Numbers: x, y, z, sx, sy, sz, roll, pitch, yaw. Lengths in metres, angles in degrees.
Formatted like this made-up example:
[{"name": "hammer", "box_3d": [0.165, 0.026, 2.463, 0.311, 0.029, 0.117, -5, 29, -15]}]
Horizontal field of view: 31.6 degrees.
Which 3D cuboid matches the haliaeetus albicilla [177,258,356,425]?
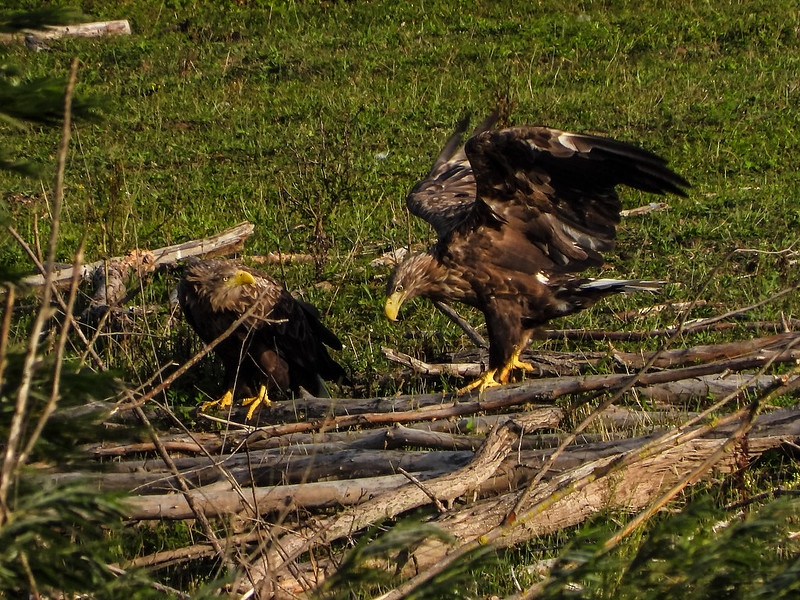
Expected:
[{"name": "haliaeetus albicilla", "box_3d": [-1.124, 0.230, 11.391, 0.841, 1.274, 1.942, 3, 3, 25]}]
